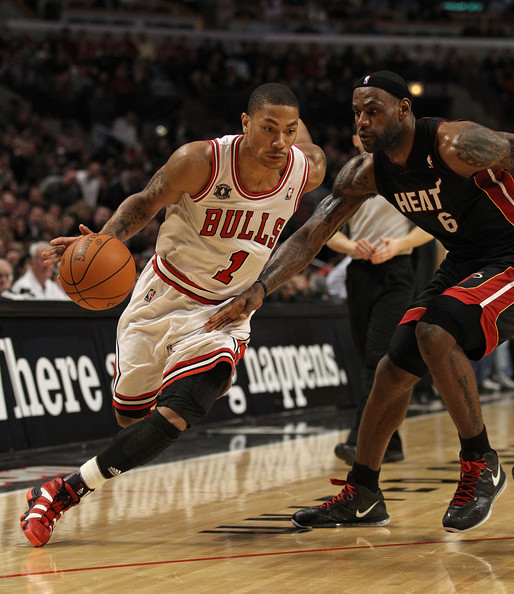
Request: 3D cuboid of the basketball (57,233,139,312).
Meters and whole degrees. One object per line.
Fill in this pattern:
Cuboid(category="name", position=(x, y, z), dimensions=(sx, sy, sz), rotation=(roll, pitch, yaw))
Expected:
Cuboid(category="basketball", position=(-0.591, -0.085, 2.401), dimensions=(0.272, 0.289, 0.214), rotation=(-4, 12, -12))

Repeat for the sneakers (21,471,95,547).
Cuboid(category="sneakers", position=(-0.735, 0.757, 2.476), dimensions=(0.196, 0.127, 0.387), rotation=(-27, 11, 15))

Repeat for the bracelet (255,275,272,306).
Cuboid(category="bracelet", position=(0.027, -0.022, 2.643), dimensions=(0.095, 0.094, 0.037), rotation=(9, -34, 1))

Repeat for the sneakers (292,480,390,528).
Cuboid(category="sneakers", position=(0.347, 0.839, 2.624), dimensions=(0.485, 0.167, 0.149), rotation=(1, -9, 2))

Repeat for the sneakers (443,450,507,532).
Cuboid(category="sneakers", position=(0.759, 0.645, 2.221), dimensions=(0.139, 0.154, 0.397), rotation=(-19, 8, 40))
